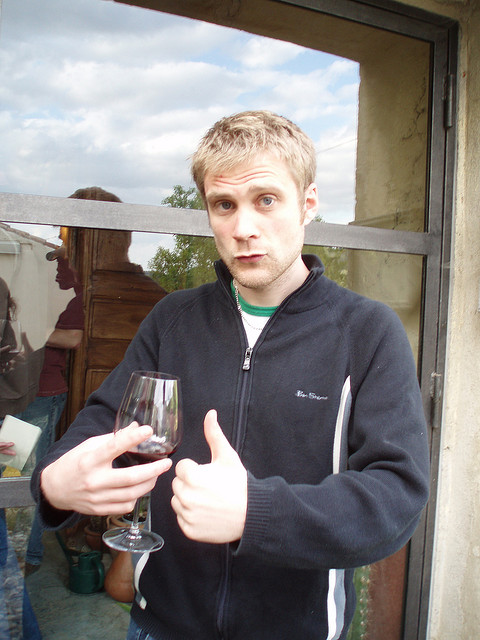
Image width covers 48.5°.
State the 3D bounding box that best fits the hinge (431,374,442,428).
[{"bbox_3d":[0.688,0.285,1.871,0.032,0.191,0.022,3,1,6],"label":"hinge"}]

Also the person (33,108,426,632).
[{"bbox_3d":[-0.003,0.122,1.069,0.731,1.010,0.575,3,1,18],"label":"person"}]

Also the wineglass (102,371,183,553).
[{"bbox_3d":[-0.144,0.251,1.038,0.175,0.357,0.181,3,-3,-6],"label":"wineglass"}]

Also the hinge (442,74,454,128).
[{"bbox_3d":[0.729,-0.773,1.875,0.040,0.193,0.021,3,1,14],"label":"hinge"}]
